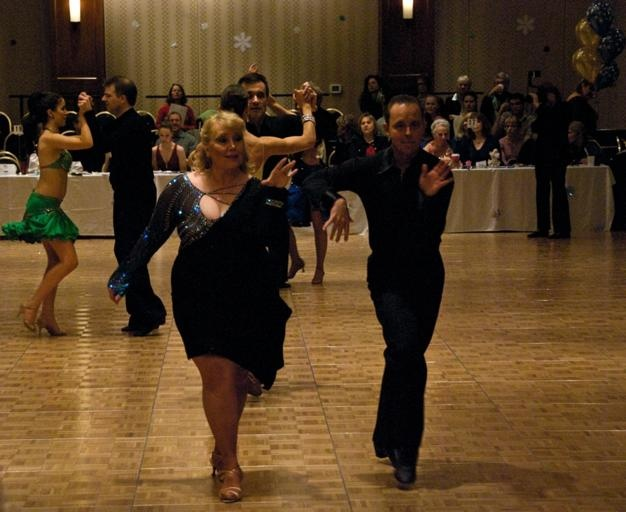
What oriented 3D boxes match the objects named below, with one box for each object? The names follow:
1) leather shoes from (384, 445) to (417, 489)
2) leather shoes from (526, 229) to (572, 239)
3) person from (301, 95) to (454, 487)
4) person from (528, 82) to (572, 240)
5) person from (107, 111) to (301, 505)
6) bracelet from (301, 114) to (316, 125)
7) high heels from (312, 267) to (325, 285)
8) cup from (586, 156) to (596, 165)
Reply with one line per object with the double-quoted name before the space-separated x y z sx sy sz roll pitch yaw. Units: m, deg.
"leather shoes" 0.325 0.773 2.403 0.067 0.130 0.178 -1 16 -9
"leather shoes" 3.348 -0.261 9.245 0.603 0.250 0.202 0 0 4
"person" 0.256 0.125 2.428 0.490 1.423 0.309 1 9 11
"person" 3.374 -1.205 9.234 0.557 1.868 0.603 2 10 16
"person" -0.360 0.155 2.431 0.497 1.342 0.405 8 12 41
"bracelet" -0.023 -0.777 3.720 0.077 0.050 0.076 0 5 -4
"high heels" 0.055 0.208 6.411 0.148 0.172 0.439 -1 -3 3
"cup" 4.162 -1.414 9.781 0.129 0.121 0.113 1 6 37
